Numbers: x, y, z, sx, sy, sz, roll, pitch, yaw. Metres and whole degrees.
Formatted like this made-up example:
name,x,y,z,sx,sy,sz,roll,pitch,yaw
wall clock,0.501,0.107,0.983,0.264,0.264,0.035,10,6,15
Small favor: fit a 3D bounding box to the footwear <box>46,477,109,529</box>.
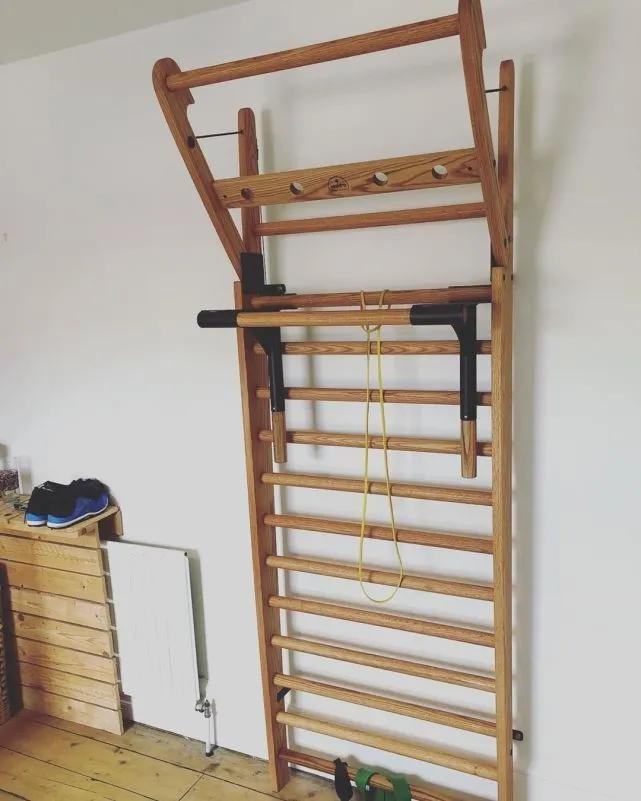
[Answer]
name,x,y,z,sx,sy,sz,roll,pitch,yaw
footwear,-0.679,0.296,2.272,0.081,0.071,0.190,3,16,21
